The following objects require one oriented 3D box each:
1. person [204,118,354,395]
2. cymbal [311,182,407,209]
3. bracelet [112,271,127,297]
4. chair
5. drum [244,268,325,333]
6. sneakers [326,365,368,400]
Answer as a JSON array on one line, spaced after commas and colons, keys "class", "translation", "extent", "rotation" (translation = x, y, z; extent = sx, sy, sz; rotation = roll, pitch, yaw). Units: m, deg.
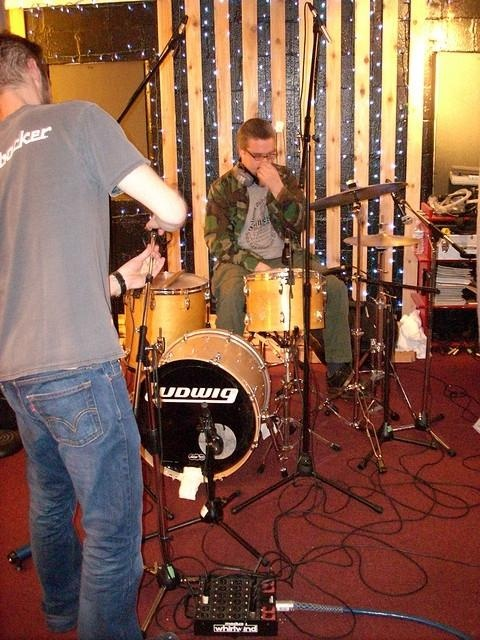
[{"class": "person", "translation": [0.157, -0.409, 3.428], "extent": [0.965, 1.702, 1.017], "rotation": [-2, 3, -44]}, {"class": "cymbal", "translation": [0.668, -0.701, 3.038], "extent": [0.335, 0.079, 0.338], "rotation": [-14, 8, -5]}, {"class": "bracelet", "translation": [-0.338, -0.114, 1.530], "extent": [0.018, 0.060, 0.058], "rotation": [-12, 27, -4]}, {"class": "chair", "translation": [0.081, -0.037, 3.310], "extent": [0.490, 0.495, 0.483], "rotation": [-16, 22, -39]}, {"class": "drum", "translation": [0.251, -0.086, 2.628], "extent": [0.343, 0.254, 0.342], "rotation": [0, 3, 0]}, {"class": "sneakers", "translation": [0.650, 0.381, 3.452], "extent": [0.188, 0.325, 0.117], "rotation": [-8, 41, 25]}]
